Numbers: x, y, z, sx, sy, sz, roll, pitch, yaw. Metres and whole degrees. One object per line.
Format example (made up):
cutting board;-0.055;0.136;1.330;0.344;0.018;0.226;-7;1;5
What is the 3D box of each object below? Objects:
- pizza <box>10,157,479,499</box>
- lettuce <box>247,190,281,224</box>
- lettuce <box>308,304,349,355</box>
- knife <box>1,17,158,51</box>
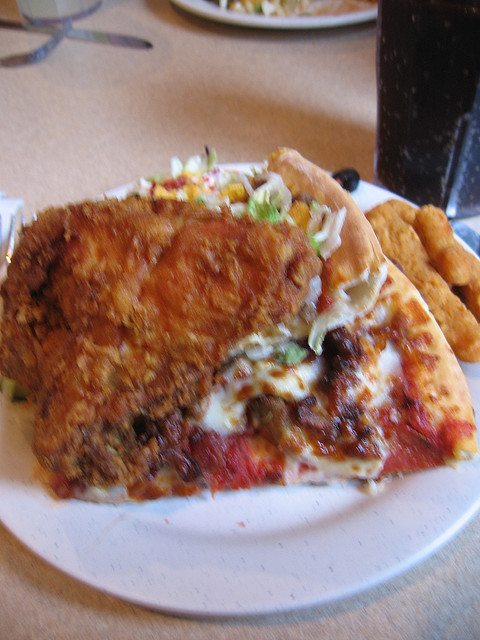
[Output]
pizza;0.000;0.002;0.662;0.524;0.274;0.302;-3;41;-4
lettuce;0.027;-0.125;0.645;0.042;0.017;0.041;6;63;-24
lettuce;0.097;0.012;0.630;0.028;0.014;0.059;33;92;13
knife;-0.255;-0.467;0.926;0.234;0.056;0.065;-15;43;-17
